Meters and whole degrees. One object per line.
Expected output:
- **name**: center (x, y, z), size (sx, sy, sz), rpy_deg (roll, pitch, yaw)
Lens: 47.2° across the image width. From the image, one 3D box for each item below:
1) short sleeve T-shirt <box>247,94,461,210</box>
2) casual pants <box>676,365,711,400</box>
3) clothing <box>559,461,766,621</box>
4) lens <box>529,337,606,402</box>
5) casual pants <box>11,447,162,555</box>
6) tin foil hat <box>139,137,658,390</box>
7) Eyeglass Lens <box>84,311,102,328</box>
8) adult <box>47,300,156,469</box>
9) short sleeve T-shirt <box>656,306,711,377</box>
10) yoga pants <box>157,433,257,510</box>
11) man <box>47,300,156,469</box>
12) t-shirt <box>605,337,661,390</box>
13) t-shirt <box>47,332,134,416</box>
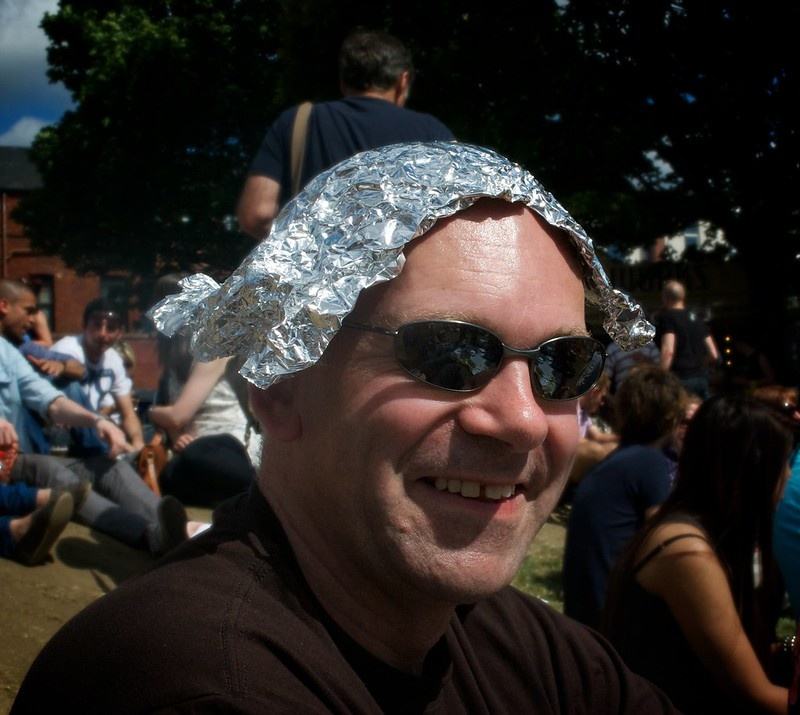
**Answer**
- **short sleeve T-shirt**: center (-0.386, -0.962, 4.186), size (0.574, 0.473, 0.302), rpy_deg (-1, -7, 22)
- **casual pants**: center (2.303, 0.194, 7.144), size (0.231, 0.367, 0.184), rpy_deg (-4, 1, -31)
- **clothing**: center (1.092, 0.866, 4.346), size (0.427, 0.833, 0.682), rpy_deg (22, -20, -13)
- **lens**: center (0.374, 0.022, 2.045), size (0.152, 0.074, 0.148), rpy_deg (-2, 14, 44)
- **casual pants**: center (-1.476, 0.722, 4.614), size (0.766, 0.198, 0.422), rpy_deg (21, 6, 38)
- **tin foil hat**: center (-0.070, -0.282, 2.159), size (0.965, 0.379, 0.683), rpy_deg (-18, -3, 14)
- **Eyeglass Lens**: center (-2.229, -0.270, 6.615), size (0.093, 0.118, 0.128), rpy_deg (7, -31, -22)
- **adult**: center (-2.183, 0.240, 6.661), size (0.503, 1.311, 0.904), rpy_deg (-3, 21, -36)
- **short sleeve T-shirt**: center (2.435, -0.149, 7.792), size (0.510, 0.672, 0.348), rpy_deg (-1, 4, -19)
- **yoga pants**: center (-0.955, 0.506, 4.673), size (0.274, 0.227, 0.490), rpy_deg (-10, -2, -40)
- **man**: center (-2.189, 0.244, 6.676), size (0.543, 1.352, 0.911), rpy_deg (-5, 23, -37)
- **t-shirt**: center (1.435, 0.056, 5.663), size (0.400, 0.422, 0.232), rpy_deg (1, 0, -27)
- **t-shirt**: center (-2.115, 0.122, 6.201), size (0.545, 0.677, 0.333), rpy_deg (4, -1, -26)
